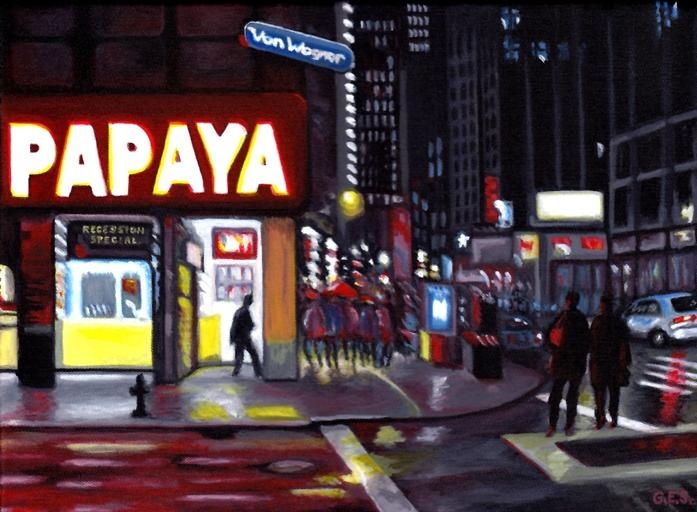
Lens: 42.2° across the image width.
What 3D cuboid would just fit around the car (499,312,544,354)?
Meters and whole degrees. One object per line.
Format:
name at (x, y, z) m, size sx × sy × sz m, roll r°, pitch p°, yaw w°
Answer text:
car at (6.473, 2.673, 33.448) m, size 1.629 × 1.067 × 3.553 m, roll -1°, pitch 8°, yaw 10°

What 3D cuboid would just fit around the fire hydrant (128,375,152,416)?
fire hydrant at (-4.720, 3.088, 20.506) m, size 0.380 × 0.935 × 1.407 m, roll -1°, pitch -1°, yaw -12°
